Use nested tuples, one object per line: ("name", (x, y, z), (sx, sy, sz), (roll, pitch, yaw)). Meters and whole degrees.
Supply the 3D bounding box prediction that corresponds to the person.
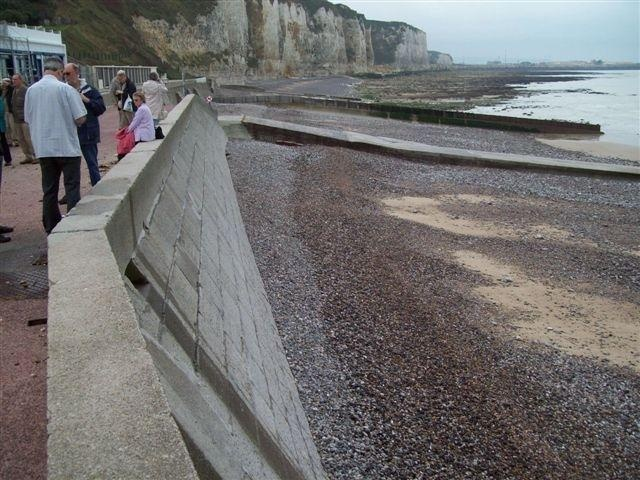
("person", (-3.262, -1.150, 5.650), (0.654, 2.118, 1.524), (-11, 24, -29))
